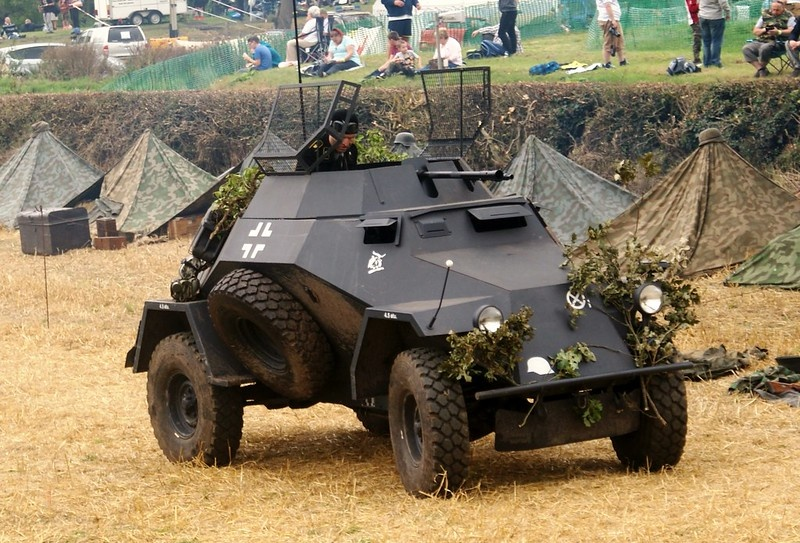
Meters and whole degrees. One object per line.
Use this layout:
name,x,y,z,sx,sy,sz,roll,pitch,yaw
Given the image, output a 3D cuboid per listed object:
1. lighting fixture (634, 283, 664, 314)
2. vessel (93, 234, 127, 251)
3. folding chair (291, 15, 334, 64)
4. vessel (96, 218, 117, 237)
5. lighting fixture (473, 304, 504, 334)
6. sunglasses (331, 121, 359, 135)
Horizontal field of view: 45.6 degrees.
lighting fixture,2.368,0.276,9.002,0.302,0.295,0.110,-7,13,-21
vessel,-6.024,-0.590,19.736,0.650,0.252,0.461,-7,13,-19
folding chair,-2.145,-5.941,23.906,0.805,1.305,2.826,-4,12,-4
vessel,-6.209,-0.923,20.011,0.382,0.470,0.377,-5,9,-38
lighting fixture,0.794,0.432,8.552,0.196,0.215,0.270,7,15,37
sunglasses,-0.596,-1.536,10.035,0.163,0.102,0.221,3,5,-25
